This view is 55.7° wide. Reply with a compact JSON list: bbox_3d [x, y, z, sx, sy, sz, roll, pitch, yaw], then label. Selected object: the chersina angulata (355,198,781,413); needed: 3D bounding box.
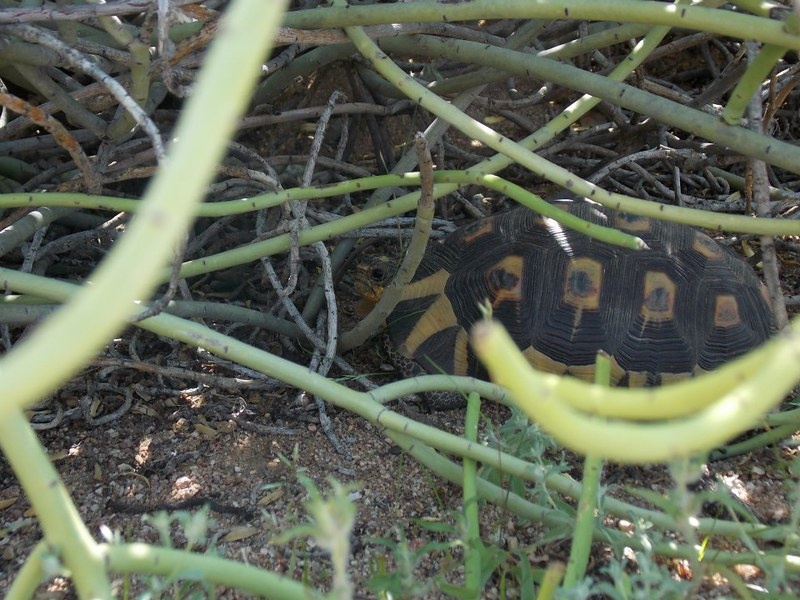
[{"bbox_3d":[0.509,0.062,2.515,1.220,0.359,0.680,3,38,-3],"label":"chersina angulata"}]
